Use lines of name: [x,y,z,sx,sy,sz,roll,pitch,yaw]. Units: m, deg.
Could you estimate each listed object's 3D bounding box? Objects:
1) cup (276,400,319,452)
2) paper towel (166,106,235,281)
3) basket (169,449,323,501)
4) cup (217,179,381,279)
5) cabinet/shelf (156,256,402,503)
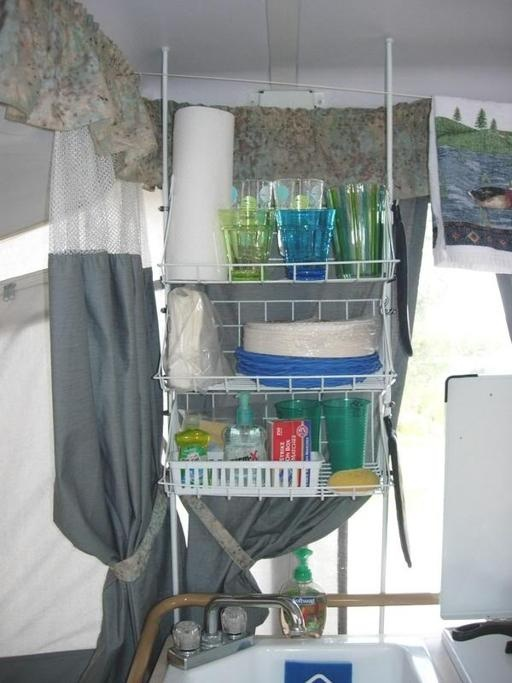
cup: [0.072,0.150,1.495,0.087,0.133,0.093,-1,4,0]
paper towel: [-0.099,-0.262,1.397,0.130,0.305,0.125,-2,10,-2]
basket: [-0.018,0.254,1.435,0.269,0.109,0.117,-2,10,-1]
cup: [0.079,-0.196,1.371,0.199,0.113,0.070,-1,0,-12]
cabinet/shelf: [0.054,0.013,1.455,0.356,0.355,0.255,7,16,16]
